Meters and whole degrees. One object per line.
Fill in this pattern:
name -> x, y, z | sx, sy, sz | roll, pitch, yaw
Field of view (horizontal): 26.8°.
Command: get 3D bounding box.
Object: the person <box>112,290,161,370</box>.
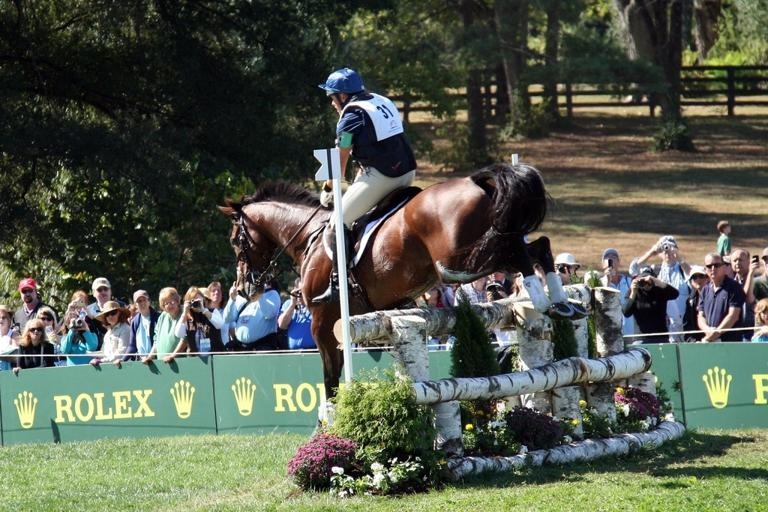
person -> -5.313, 1.588, 34.356 | 0.683, 1.639, 0.699 | 2, -4, 11

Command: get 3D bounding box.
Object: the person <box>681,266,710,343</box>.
person -> 6.486, 1.026, 33.419 | 0.450, 1.763, 0.455 | 3, -3, -22

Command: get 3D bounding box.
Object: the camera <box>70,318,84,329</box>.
camera -> -6.589, 1.450, 34.455 | 0.205, 0.089, 0.219 | 8, -11, -30

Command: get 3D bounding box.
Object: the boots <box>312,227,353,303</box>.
boots -> -0.969, 0.179, 30.691 | 0.562, 1.468, 0.653 | 0, -2, 5

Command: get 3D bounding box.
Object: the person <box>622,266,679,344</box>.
person -> 5.602, 1.550, 33.464 | 1.207, 2.567, 0.755 | -5, 9, 15

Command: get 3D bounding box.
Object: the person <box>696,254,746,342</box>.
person -> 6.872, 0.780, 32.926 | 0.759, 1.882, 0.677 | -1, 2, 19

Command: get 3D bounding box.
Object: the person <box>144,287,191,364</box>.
person -> -4.576, 1.538, 34.083 | 0.785, 1.710, 0.731 | 3, -1, -30

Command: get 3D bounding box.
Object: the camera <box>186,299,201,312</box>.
camera -> -3.996, 1.029, 33.600 | 0.280, 0.186, 0.264 | -1, -4, 20

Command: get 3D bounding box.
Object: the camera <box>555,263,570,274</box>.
camera -> 3.712, 0.256, 33.496 | 0.200, 0.101, 0.265 | 7, 8, -2

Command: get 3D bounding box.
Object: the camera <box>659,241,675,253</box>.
camera -> 6.046, -0.238, 34.371 | 0.217, 0.166, 0.331 | 3, 12, 27

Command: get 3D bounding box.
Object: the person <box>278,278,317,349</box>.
person -> -1.856, 1.244, 33.604 | 0.703, 1.616, 0.690 | -4, -2, 9

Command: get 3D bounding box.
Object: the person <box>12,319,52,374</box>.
person -> -7.499, 1.915, 34.315 | 0.880, 1.111, 0.488 | -4, -3, -15

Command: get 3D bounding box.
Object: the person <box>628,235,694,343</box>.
person -> 6.002, 0.727, 34.467 | 1.184, 2.282, 0.970 | 1, 2, 17

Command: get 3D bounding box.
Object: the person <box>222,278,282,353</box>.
person -> -2.801, 1.201, 34.134 | 1.039, 1.681, 0.840 | 2, 0, -9

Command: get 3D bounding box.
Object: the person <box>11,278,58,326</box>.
person -> -7.885, 0.862, 35.847 | 0.810, 1.347, 0.676 | 10, -1, -39

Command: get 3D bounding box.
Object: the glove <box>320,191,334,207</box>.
glove -> -1.117, -1.112, 31.335 | 0.232, 0.323, 0.120 | 0, 1, 29

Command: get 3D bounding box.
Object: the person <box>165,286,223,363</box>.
person -> -3.835, 1.999, 33.985 | 0.998, 2.650, 0.935 | -9, 7, -11
